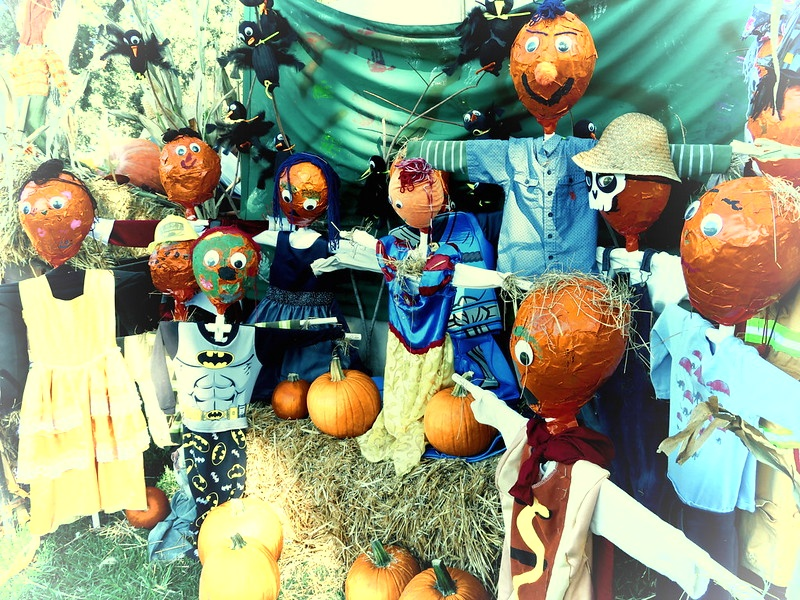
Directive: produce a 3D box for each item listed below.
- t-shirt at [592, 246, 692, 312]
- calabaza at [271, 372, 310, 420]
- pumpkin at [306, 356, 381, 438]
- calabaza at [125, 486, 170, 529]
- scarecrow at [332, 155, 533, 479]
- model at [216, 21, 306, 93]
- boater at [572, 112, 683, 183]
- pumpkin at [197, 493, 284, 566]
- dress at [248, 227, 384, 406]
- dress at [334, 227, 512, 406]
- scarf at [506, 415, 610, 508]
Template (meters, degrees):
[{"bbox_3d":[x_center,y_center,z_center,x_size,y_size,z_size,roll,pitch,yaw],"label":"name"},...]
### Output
[{"bbox_3d":[1.186,-0.060,3.401,0.122,0.306,0.468,-15,8,-43],"label":"t-shirt"},{"bbox_3d":[-0.657,0.592,4.262,0.233,0.252,0.237,3,8,-1],"label":"calabaza"},{"bbox_3d":[-0.330,0.538,4.164,0.446,0.497,0.424,-11,10,-40],"label":"pumpkin"},{"bbox_3d":[-1.556,1.321,4.315,0.216,0.209,0.229,19,60,3],"label":"calabaza"},{"bbox_3d":[0.365,-0.005,4.337,1.446,1.963,1.407,2,7,32],"label":"scarecrow"},{"bbox_3d":[-0.922,-1.658,4.671,0.473,0.455,0.141,-6,13,26],"label":"model"},{"bbox_3d":[1.062,-0.676,3.215,0.359,0.195,0.349,-8,16,-36],"label":"boater"},{"bbox_3d":[-0.883,1.222,3.815,0.371,0.374,0.368,-2,5,-40],"label":"pumpkin"},{"bbox_3d":[-0.524,0.110,4.245,0.858,1.000,0.571,6,21,12],"label":"dress"},{"bbox_3d":[0.157,0.094,3.861,0.787,0.947,0.537,-10,22,41],"label":"dress"},{"bbox_3d":[0.664,0.693,2.885,0.153,0.272,0.276,26,5,-37],"label":"scarf"}]
